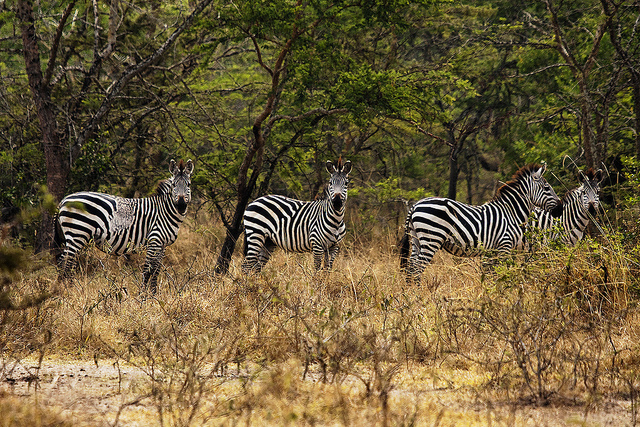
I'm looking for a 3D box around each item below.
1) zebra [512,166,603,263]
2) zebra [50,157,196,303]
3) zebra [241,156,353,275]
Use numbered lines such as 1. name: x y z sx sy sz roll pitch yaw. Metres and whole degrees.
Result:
1. zebra: 4.642 0.039 17.028 1.478 2.181 2.104 -4 -13 34
2. zebra: -4.194 0.319 18.669 3.353 4.274 1.756 4 -1 -20
3. zebra: -0.348 0.279 18.348 2.986 2.843 1.050 5 12 37
